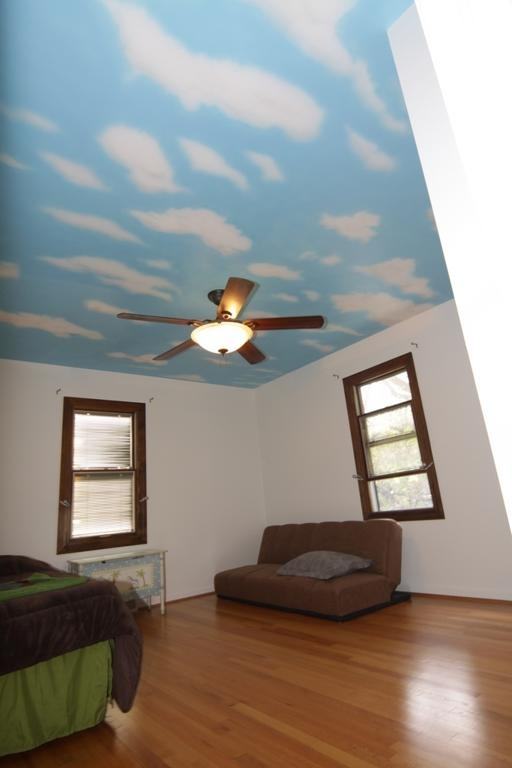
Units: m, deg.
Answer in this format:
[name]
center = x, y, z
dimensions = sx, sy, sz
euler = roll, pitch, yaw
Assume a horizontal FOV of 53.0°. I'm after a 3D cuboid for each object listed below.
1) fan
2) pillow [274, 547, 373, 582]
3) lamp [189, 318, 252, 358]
[fan]
center = -0.235, -0.508, 3.133
dimensions = 0.803, 0.337, 0.868
euler = 6, -29, -16
[pillow]
center = 0.538, 1.522, 4.351
dimensions = 0.350, 0.129, 0.448
euler = 4, -14, -34
[lamp]
center = -0.206, -0.282, 3.058
dimensions = 0.381, 0.150, 0.322
euler = -5, -13, -3
